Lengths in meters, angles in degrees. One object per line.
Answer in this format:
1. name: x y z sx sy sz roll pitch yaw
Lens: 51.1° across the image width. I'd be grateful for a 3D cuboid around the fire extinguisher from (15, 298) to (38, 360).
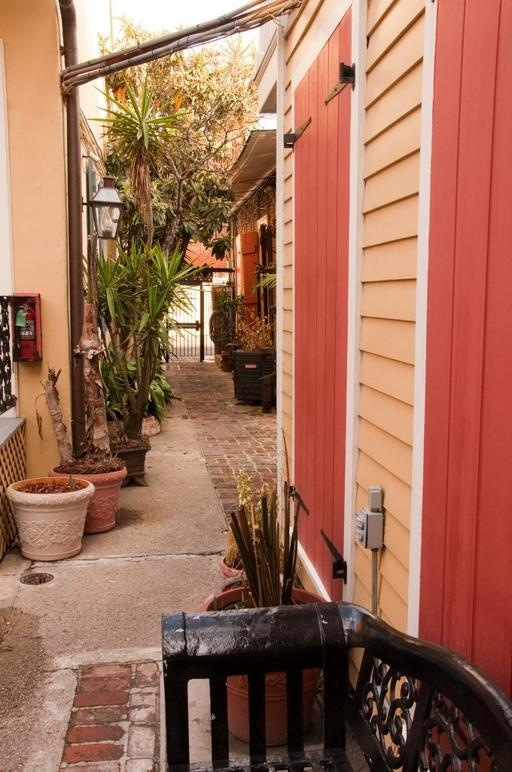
1. fire extinguisher: -2.175 -0.530 4.988 0.218 0.709 0.068 -3 -22 -19
